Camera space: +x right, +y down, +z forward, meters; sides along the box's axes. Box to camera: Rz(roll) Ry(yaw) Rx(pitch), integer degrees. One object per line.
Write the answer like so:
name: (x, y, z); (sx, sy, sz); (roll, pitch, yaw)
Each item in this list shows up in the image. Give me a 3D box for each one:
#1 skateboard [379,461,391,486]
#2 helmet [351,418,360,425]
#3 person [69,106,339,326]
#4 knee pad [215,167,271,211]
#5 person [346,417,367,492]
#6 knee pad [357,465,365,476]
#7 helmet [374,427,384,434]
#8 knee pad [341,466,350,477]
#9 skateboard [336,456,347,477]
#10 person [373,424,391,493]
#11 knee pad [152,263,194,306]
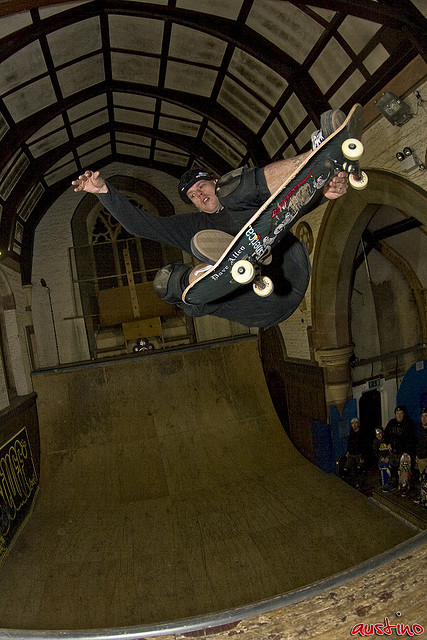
skateboard: (2.959, 2.598, 6.910); (0.148, 0.490, 0.163); (10, 55, 34)
helmet: (2.567, 1.803, 7.268); (0.126, 0.090, 0.124); (-3, -11, 2)
person: (0.319, -0.610, 2.437); (1.768, 0.739, 1.162); (-29, -5, -47)
knee pad: (0.153, -0.665, 2.115); (0.323, 0.122, 0.220); (-8, 4, -11)
person: (2.619, 2.315, 7.438); (0.301, 1.174, 1.238); (-4, 4, 24)
knee pad: (2.696, 2.706, 7.331); (0.104, 0.444, 0.069); (-18, 44, 12)
helmet: (2.839, 1.862, 6.870); (0.113, 0.116, 0.080); (-7, 4, -12)
knee pad: (2.364, 2.674, 7.194); (0.120, 0.181, 0.055); (-8, 36, 3)
skateboard: (2.296, 2.598, 7.187); (0.073, 0.312, 0.229); (2, -1, -13)
person: (2.926, 2.318, 6.966); (0.245, 1.053, 0.523); (-4, 4, 22)
knee pad: (-0.285, -0.257, 2.500); (0.251, 0.141, 0.330); (-34, 5, -23)
